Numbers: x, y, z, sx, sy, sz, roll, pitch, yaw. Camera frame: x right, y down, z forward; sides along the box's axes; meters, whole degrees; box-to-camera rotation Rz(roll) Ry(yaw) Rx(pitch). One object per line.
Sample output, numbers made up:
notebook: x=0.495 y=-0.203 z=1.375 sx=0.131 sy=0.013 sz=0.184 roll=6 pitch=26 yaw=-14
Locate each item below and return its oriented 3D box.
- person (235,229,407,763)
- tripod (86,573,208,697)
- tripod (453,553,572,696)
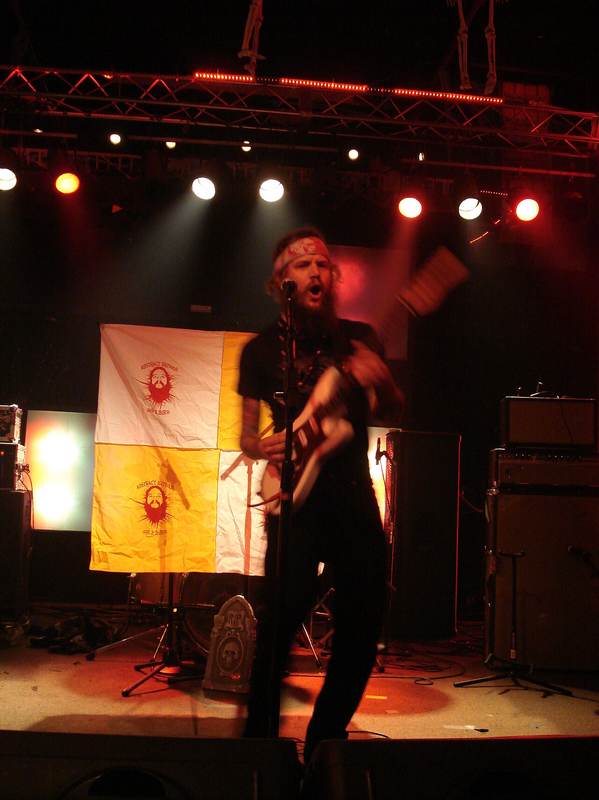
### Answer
person: x=0.060 y=0.216 z=2.762 sx=0.511 sy=1.726 sz=0.670 roll=6 pitch=-8 yaw=-10
tripod: x=-0.822 y=1.284 z=4.793 sx=0.627 sy=0.552 sz=0.703 roll=0 pitch=-2 yaw=2
tripod: x=1.233 y=1.264 z=4.815 sx=0.531 sy=0.757 sz=0.582 roll=-9 pitch=-13 yaw=40
